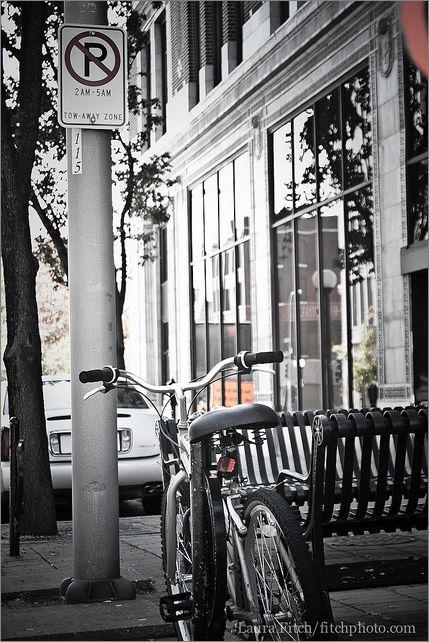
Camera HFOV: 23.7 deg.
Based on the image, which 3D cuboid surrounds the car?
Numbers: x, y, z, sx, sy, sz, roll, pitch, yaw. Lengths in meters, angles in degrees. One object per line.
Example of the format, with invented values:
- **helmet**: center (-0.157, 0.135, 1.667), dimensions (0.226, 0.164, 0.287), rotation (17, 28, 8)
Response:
- **car**: center (-1.070, 1.090, 9.517), dimensions (0.975, 0.886, 2.263), rotation (1, -5, -15)
